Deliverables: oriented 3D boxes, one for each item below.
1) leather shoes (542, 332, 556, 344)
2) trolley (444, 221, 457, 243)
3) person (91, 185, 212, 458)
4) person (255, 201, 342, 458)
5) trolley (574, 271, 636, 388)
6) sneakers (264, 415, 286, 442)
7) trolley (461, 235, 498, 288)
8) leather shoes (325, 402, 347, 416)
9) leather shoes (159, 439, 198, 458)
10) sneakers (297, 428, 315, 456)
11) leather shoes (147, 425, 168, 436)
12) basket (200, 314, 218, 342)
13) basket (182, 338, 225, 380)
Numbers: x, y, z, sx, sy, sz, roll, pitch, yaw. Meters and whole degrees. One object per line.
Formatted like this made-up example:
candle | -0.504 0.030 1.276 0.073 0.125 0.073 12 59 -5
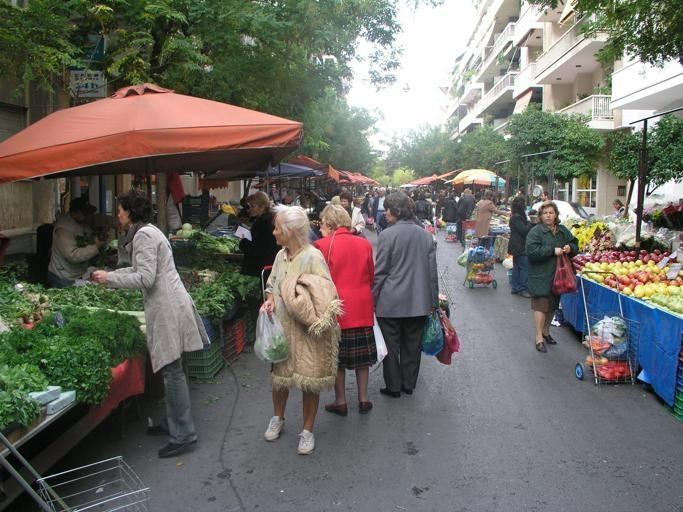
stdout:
leather shoes | 3.271 1.302 7.694 0.106 0.132 0.299 -1 -3 -13
trolley | 5.264 -1.169 23.320 0.748 0.811 0.704 -2 7 -30
person | -1.711 0.614 4.542 0.755 2.411 0.479 0 7 1
person | -0.361 0.681 4.580 0.726 2.290 0.555 1 7 10
trolley | 3.506 1.077 6.299 0.613 1.203 0.829 1 -9 32
sneakers | -0.661 1.697 4.822 0.108 0.157 0.329 2 6 6
trolley | 3.578 0.146 12.503 0.733 1.265 0.814 -2 11 8
leather shoes | -0.057 1.684 5.444 0.253 0.109 0.103 8 9 40
leather shoes | -1.544 1.784 4.585 0.315 0.154 0.125 4 -4 -31
sneakers | -0.327 1.743 4.538 0.103 0.125 0.271 0 -3 1
leather shoes | -1.847 1.742 4.911 0.181 0.079 0.097 10 -2 -4
basket | -1.598 0.844 5.847 0.243 0.339 0.465 -3 1 -11
basket | -1.805 1.335 6.400 0.391 0.300 0.639 -1 -3 4
